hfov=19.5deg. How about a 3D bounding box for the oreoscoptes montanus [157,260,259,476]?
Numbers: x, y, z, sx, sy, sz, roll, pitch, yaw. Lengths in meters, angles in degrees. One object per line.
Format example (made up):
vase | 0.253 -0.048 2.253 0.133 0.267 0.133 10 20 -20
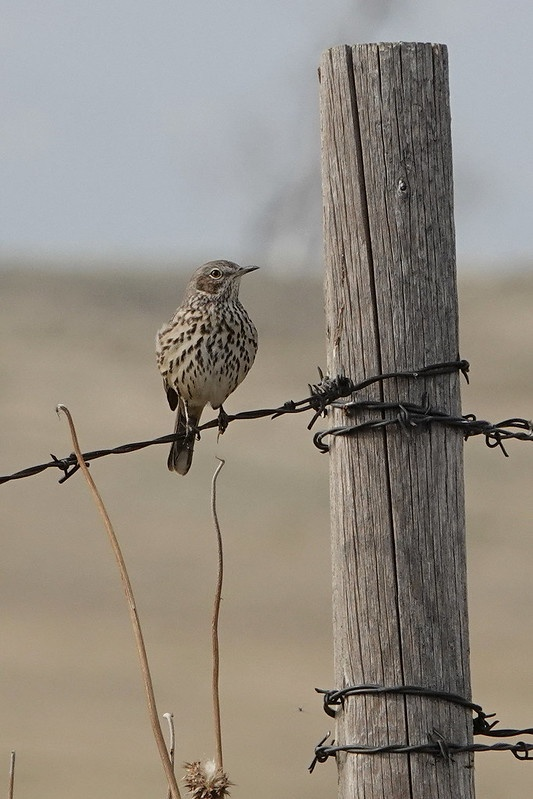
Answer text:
oreoscoptes montanus | -0.192 -0.196 5.022 0.307 0.498 0.555 -1 -28 -4
